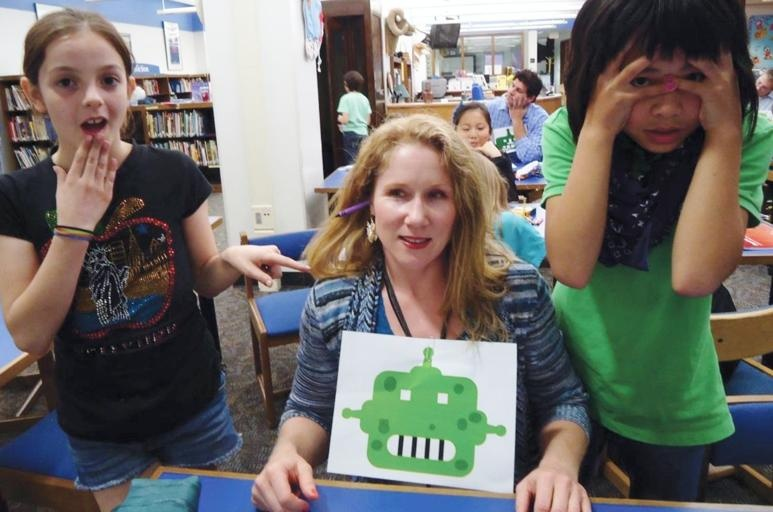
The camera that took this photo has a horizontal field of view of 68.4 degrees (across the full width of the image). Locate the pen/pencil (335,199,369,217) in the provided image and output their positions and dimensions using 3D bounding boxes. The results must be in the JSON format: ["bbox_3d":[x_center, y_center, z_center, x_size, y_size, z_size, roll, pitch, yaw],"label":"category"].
[{"bbox_3d":[-0.104,-0.144,1.710,0.084,0.012,0.012,-28,18,-4],"label":"pen/pencil"}]

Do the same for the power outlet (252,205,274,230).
[{"bbox_3d":[-1.029,-0.330,4.778,0.213,0.285,0.029,0,20,3],"label":"power outlet"}]

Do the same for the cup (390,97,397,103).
[{"bbox_3d":[0.107,-2.601,9.537,0.130,0.066,0.185,-3,9,7],"label":"cup"}]
